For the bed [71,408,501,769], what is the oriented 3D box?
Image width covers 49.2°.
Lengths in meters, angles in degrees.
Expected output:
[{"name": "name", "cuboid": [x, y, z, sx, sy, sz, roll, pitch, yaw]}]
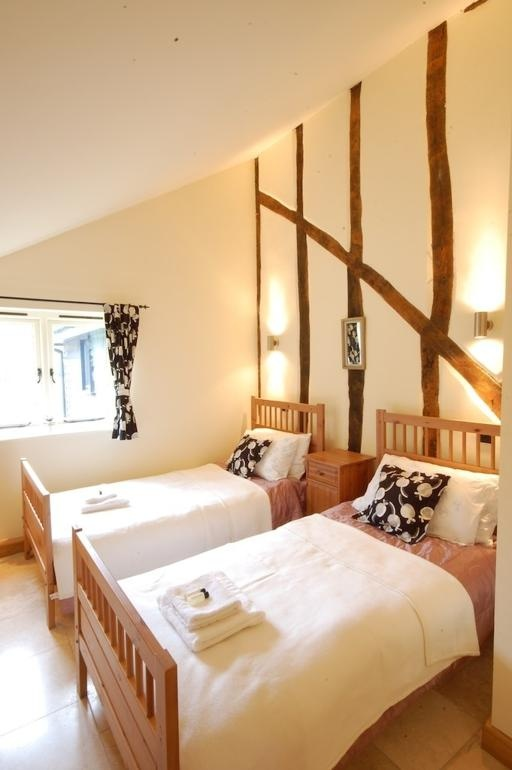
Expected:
[{"name": "bed", "cuboid": [0.204, 0.996, 2.727, 1.393, 1.026, 1.243, -10, 19, -30]}]

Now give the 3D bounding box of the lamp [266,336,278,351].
[{"name": "lamp", "cuboid": [0.133, -0.338, 4.613, 0.075, 0.124, 0.081, -7, 9, -29]}]

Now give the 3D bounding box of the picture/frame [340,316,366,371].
[{"name": "picture/frame", "cuboid": [0.644, -0.273, 3.737, 0.252, 0.370, 0.024, -10, 9, -42]}]

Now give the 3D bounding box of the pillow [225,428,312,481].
[{"name": "pillow", "cuboid": [0.146, 0.508, 3.900, 0.357, 0.124, 0.391, -6, 32, 23]}]

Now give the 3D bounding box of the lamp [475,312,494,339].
[{"name": "lamp", "cuboid": [1.124, -0.298, 2.827, 0.092, 0.140, 0.107, -9, 11, -39]}]

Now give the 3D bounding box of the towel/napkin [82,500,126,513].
[{"name": "towel/napkin", "cuboid": [-0.837, 0.669, 3.105, 0.226, 0.064, 0.076, -11, 1, -34]}]

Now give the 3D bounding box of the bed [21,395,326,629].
[{"name": "bed", "cuboid": [-0.497, 0.683, 3.407, 1.557, 1.015, 1.078, -7, 10, -36]}]

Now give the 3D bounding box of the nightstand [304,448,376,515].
[{"name": "nightstand", "cuboid": [0.486, 0.691, 3.656, 0.284, 0.448, 0.253, 12, 21, 35]}]

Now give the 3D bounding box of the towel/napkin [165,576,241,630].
[{"name": "towel/napkin", "cuboid": [-0.182, 0.758, 1.957, 0.134, 0.048, 0.136, -7, 10, -41]}]
